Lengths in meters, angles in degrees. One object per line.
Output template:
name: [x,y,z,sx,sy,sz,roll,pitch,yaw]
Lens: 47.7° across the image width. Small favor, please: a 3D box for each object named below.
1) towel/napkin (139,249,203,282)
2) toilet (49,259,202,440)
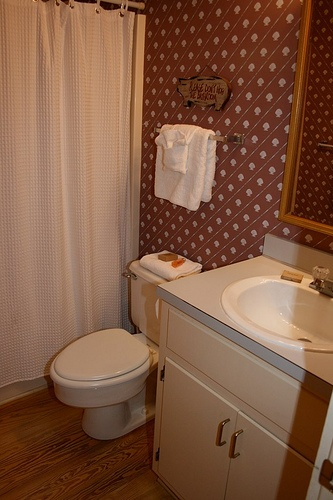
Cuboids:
towel/napkin: [0.008,0.066,1.661,0.144,0.055,0.174,-17,26,-34]
toilet: [-0.188,0.443,1.650,0.647,0.699,0.359,-12,23,-41]
